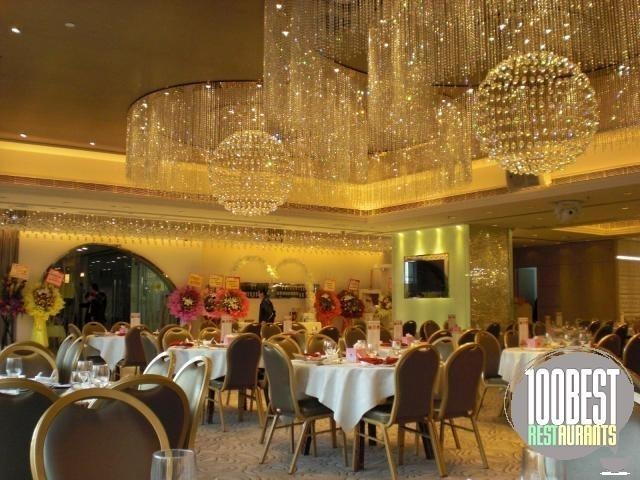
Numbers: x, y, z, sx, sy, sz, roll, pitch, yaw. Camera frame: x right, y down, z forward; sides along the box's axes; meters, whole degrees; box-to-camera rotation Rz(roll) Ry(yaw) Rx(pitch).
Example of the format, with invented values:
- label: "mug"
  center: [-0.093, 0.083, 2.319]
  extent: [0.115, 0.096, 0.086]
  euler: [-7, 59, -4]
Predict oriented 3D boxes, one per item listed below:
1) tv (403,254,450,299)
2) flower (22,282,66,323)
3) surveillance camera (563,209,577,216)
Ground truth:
- label: "tv"
  center: [2.716, 0.940, 13.681]
  extent: [0.244, 1.081, 1.561]
  euler: [2, -4, -26]
- label: "flower"
  center: [-6.011, 1.381, 11.542]
  extent: [0.719, 0.796, 0.423]
  euler: [6, -14, -16]
- label: "surveillance camera"
  center: [4.633, -0.518, 9.823]
  extent: [0.116, 0.117, 0.043]
  euler: [-41, -22, 19]
